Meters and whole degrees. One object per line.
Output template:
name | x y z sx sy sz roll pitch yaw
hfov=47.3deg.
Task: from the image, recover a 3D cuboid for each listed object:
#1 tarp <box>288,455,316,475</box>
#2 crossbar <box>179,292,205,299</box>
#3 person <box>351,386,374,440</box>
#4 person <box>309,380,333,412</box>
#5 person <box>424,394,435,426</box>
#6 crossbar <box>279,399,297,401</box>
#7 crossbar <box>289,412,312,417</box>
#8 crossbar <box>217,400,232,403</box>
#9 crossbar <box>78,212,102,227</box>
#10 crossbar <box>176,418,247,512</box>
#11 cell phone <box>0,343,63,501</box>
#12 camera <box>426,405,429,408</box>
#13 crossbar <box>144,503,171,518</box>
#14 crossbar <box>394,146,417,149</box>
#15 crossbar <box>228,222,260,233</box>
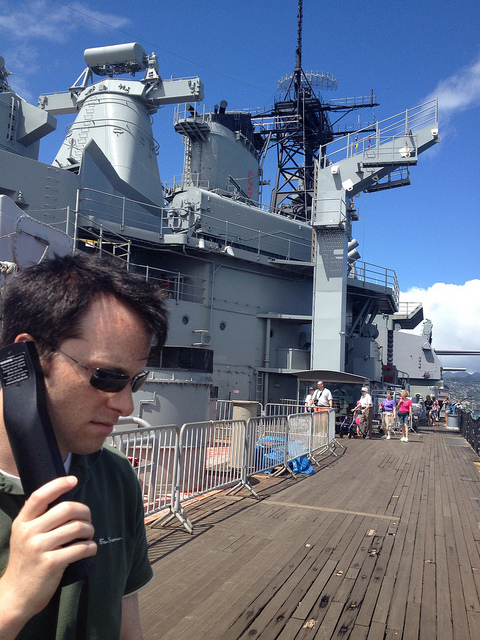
tarp | 1.248 2.875 10.814 0.486 0.249 0.788 1 -7 17
crossbar | -1.607 -0.852 18.247 0.384 0.140 0.908 -2 -8 37
person | 4.034 3.041 18.029 0.771 1.671 0.703 2 -3 2
person | 2.341 2.189 15.966 0.593 0.848 1.576 2 -6 7
person | 10.180 4.819 29.695 0.417 1.485 1.963 1 -7 18
crossbar | 1.717 2.922 20.182 0.588 0.081 0.076 4 -7 4
crossbar | 1.273 2.007 11.733 0.337 0.043 1.975 1 -6 14
crossbar | -0.486 2.554 17.370 0.616 0.070 0.068 6 -5 -22
crossbar | -4.124 -2.773 15.166 0.173 0.236 0.856 -1 -7 32
crossbar | -0.381 1.934 7.758 0.571 0.983 2.416 2 -6 10
cell phone | -0.472 0.216 1.226 0.168 0.328 0.054 0 -8 21
camera | 10.308 4.759 30.247 0.134 0.130 0.132 -4 13 -19
crossbar | -0.973 2.235 6.471 0.123 0.138 0.382 -3 -8 41
crossbar | 5.621 -5.892 18.657 0.734 0.077 0.089 1 -7 14
crossbar | 0.119 -3.365 19.714 1.396 0.124 0.075 7 -8 -37
